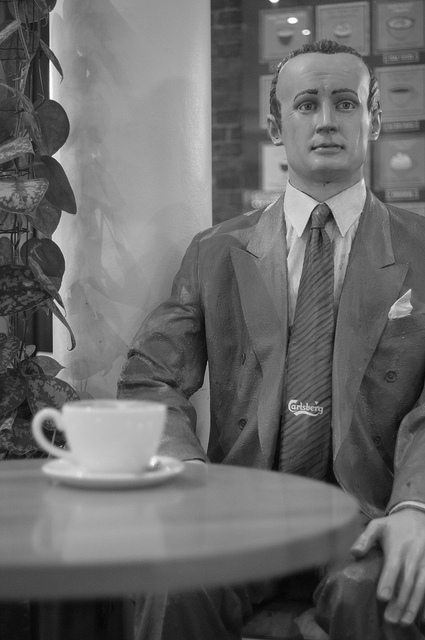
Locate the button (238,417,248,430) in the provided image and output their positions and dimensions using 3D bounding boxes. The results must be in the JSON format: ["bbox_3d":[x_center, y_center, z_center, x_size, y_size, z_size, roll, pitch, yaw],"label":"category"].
[{"bbox_3d":[0.054,0.183,1.341,0.005,0.017,0.020,-2,13,-40],"label":"button"}]

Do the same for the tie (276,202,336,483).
[{"bbox_3d":[0.167,0.055,1.285,0.091,0.439,0.143,2,3,7],"label":"tie"}]

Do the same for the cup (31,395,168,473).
[{"bbox_3d":[-0.081,0.091,0.567,0.116,0.053,0.079,-4,-9,1],"label":"cup"}]
